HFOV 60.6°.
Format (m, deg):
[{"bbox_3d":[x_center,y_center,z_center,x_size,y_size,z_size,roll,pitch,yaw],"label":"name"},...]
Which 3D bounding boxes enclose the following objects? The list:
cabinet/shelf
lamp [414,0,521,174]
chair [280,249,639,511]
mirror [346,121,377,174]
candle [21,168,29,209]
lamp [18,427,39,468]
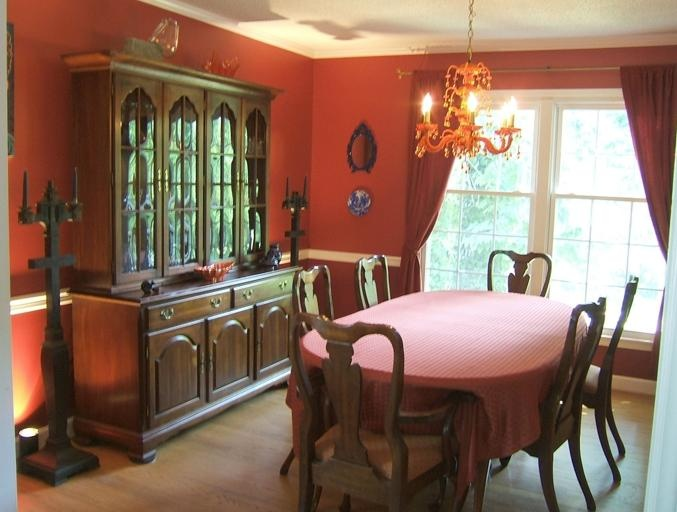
[{"bbox_3d":[-1.117,-0.061,4.166,0.672,2.515,1.536,8,12,33],"label":"cabinet/shelf"},{"bbox_3d":[1.058,-1.393,4.637,0.725,1.936,0.906,1,15,2],"label":"lamp"},{"bbox_3d":[0.944,0.752,3.602,1.544,1.244,2.107,8,12,31],"label":"chair"},{"bbox_3d":[0.234,-1.088,5.827,0.321,0.523,0.024,0,-16,9],"label":"mirror"},{"bbox_3d":[-1.753,-0.375,3.236,0.030,0.201,0.100,-4,11,-24],"label":"candle"},{"bbox_3d":[-1.944,1.170,3.634,0.109,0.227,0.251,-4,11,-25],"label":"lamp"}]
